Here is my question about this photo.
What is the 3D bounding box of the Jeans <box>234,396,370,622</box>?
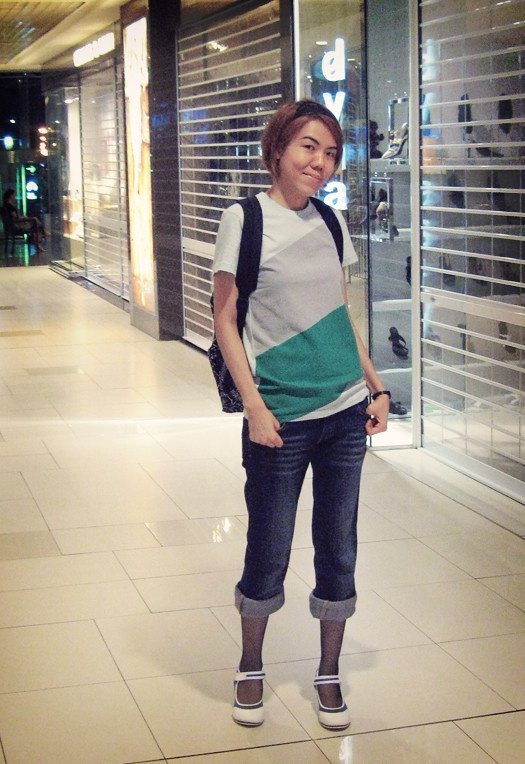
[{"bbox_3d":[0.084,0.300,1.481,0.288,0.596,0.187,0,15,-3],"label":"Jeans"}]

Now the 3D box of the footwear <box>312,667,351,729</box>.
[{"bbox_3d":[0.157,0.738,1.473,0.049,0.056,0.138,-1,8,-6],"label":"footwear"}]

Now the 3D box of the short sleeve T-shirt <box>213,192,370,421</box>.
[{"bbox_3d":[0.100,-0.165,1.383,0.289,0.490,0.169,-1,6,-6],"label":"short sleeve T-shirt"}]

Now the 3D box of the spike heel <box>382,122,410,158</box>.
[{"bbox_3d":[0.799,-1.428,3.835,0.103,0.244,0.083,4,32,-44],"label":"spike heel"}]

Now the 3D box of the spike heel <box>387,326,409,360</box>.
[{"bbox_3d":[0.858,-0.238,4.007,0.100,0.222,0.060,-16,15,12],"label":"spike heel"}]
